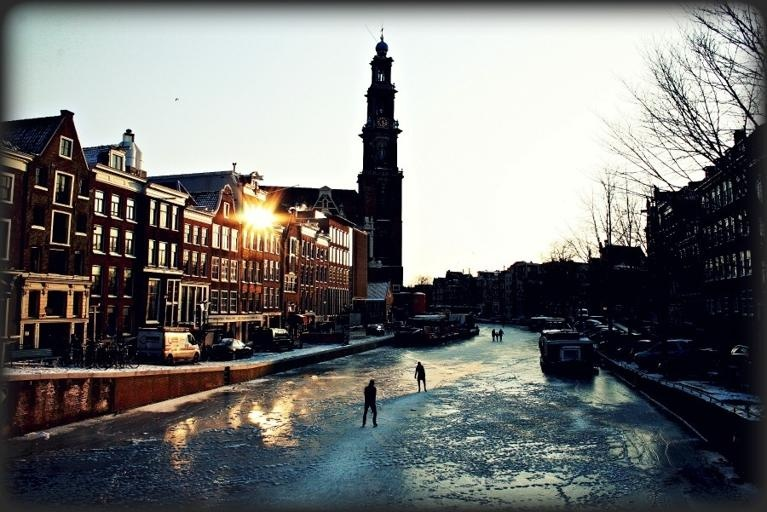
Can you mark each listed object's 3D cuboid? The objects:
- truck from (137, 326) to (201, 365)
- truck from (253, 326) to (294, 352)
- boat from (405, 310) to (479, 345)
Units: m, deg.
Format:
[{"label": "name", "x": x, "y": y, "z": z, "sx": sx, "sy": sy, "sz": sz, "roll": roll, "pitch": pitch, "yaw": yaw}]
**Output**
[{"label": "truck", "x": -15.301, "y": 6.460, "z": 47.630, "sx": 2.355, "sy": 2.055, "sz": 4.187, "roll": -2, "pitch": -4, "yaw": 38}, {"label": "truck", "x": -10.871, "y": 8.119, "z": 64.717, "sx": 2.013, "sy": 1.855, "sz": 3.344, "roll": 0, "pitch": 0, "yaw": 42}, {"label": "boat", "x": 8.649, "y": 10.764, "z": 98.914, "sx": 5.985, "sy": 5.464, "sz": 15.129, "roll": -1, "pitch": -4, "yaw": 20}]
